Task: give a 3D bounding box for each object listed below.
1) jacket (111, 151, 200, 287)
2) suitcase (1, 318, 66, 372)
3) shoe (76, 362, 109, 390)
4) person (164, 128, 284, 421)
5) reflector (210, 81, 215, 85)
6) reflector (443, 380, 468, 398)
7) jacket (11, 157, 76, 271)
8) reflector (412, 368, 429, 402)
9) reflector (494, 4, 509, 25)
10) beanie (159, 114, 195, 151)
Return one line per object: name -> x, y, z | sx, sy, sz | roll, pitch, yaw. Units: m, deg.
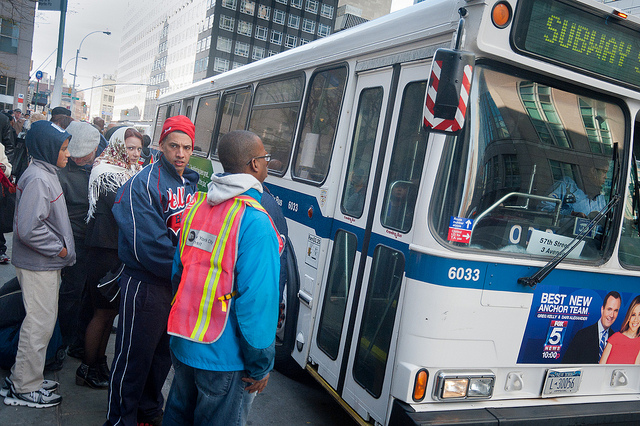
jacket -> -1.568, -0.038, 4.687 | 0.786, 1.250, 1.160 | 11, 8, 22
suitcase -> -3.200, 1.454, 4.980 | 0.596, 0.618, 0.333 | 14, -27, -33
shoe -> -2.619, 1.895, 5.258 | 0.457, 0.251, 0.164 | 10, 2, 8
person -> -0.690, 0.530, 3.528 | 0.871, 1.894, 0.687 | 7, 2, -15
reflector -> -2.292, -2.781, 9.616 | 0.113, 0.057, 0.165 | 0, 2, -13
reflector -> 1.273, 1.650, 4.235 | 0.246, 0.173, 0.024 | 7, 2, -19
jacket -> -2.892, 0.066, 4.976 | 0.635, 1.270, 0.570 | 0, -5, 6
reflector -> 0.927, 1.576, 4.144 | 0.147, 0.305, 0.028 | 6, 2, -29
reflector -> 1.626, -1.794, 4.053 | 0.134, 0.131, 0.019 | 52, -4, -17
beanie -> -1.466, -0.823, 4.672 | 0.356, 0.337, 0.270 | 1, -5, -17
